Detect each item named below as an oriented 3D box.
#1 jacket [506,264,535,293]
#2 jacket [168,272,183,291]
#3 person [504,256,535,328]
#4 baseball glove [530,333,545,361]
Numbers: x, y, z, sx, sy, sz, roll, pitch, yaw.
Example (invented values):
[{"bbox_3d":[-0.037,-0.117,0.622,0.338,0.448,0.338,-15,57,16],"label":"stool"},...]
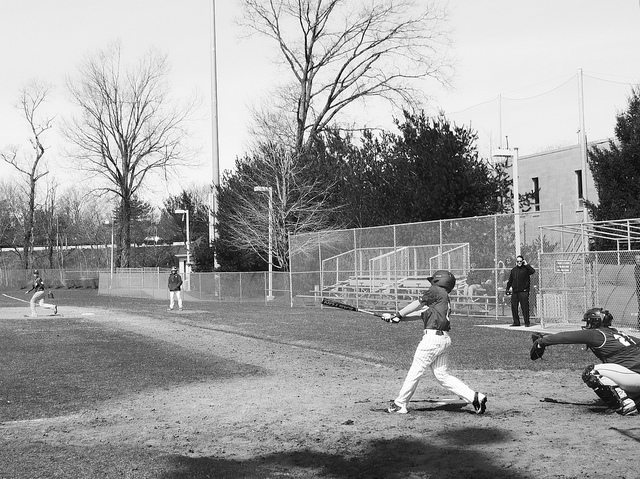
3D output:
[{"bbox_3d":[6.566,1.246,23.152,0.857,0.894,0.468,-2,-3,18],"label":"jacket"},{"bbox_3d":[-6.659,1.896,32.611,0.508,0.813,0.801,0,-3,-13],"label":"jacket"},{"bbox_3d":[6.633,1.672,23.344,0.896,2.300,0.859,-1,-3,21],"label":"person"},{"bbox_3d":[3.575,1.740,11.634,0.202,0.533,0.198,8,2,24],"label":"baseball glove"}]
